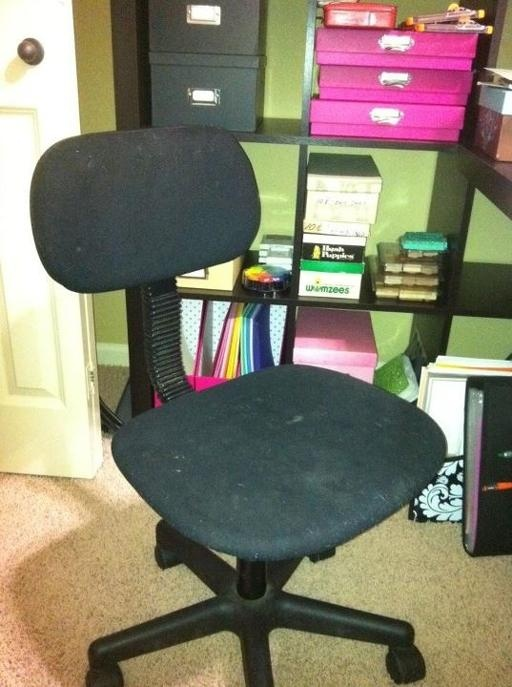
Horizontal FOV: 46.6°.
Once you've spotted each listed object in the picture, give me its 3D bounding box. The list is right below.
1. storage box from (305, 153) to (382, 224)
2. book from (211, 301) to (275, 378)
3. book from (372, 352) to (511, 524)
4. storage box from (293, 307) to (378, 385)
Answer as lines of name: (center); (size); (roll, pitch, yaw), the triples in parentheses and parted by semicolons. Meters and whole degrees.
storage box: (0.208, -0.357, 1.443); (0.162, 0.111, 0.230); (4, 34, 6)
book: (-0.037, -0.015, 1.640); (0.062, 0.212, 0.153); (7, 8, 24)
book: (0.438, 0.210, 1.480); (0.383, 0.404, 0.096); (3, 5, -11)
storage box: (0.214, -0.035, 1.608); (0.178, 0.147, 0.241); (5, 24, 2)
